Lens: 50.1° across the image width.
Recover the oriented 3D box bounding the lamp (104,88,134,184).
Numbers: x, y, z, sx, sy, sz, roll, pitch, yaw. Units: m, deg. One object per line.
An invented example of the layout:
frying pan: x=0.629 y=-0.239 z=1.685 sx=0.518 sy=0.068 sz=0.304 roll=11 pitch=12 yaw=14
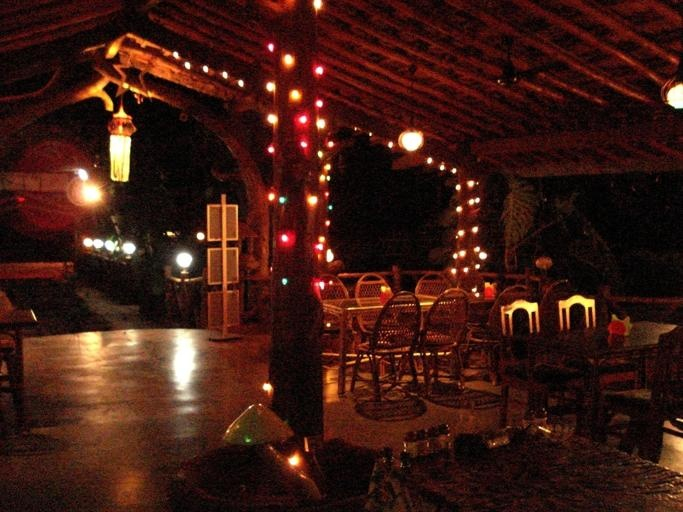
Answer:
lamp: x=-2.701 y=-1.491 z=8.978 sx=0.299 sy=1.232 sz=1.021 roll=4 pitch=-7 yaw=-16

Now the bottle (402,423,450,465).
bottle: x=0.540 y=1.208 z=4.715 sx=0.387 sy=0.226 sz=0.164 roll=5 pitch=-7 yaw=-28
